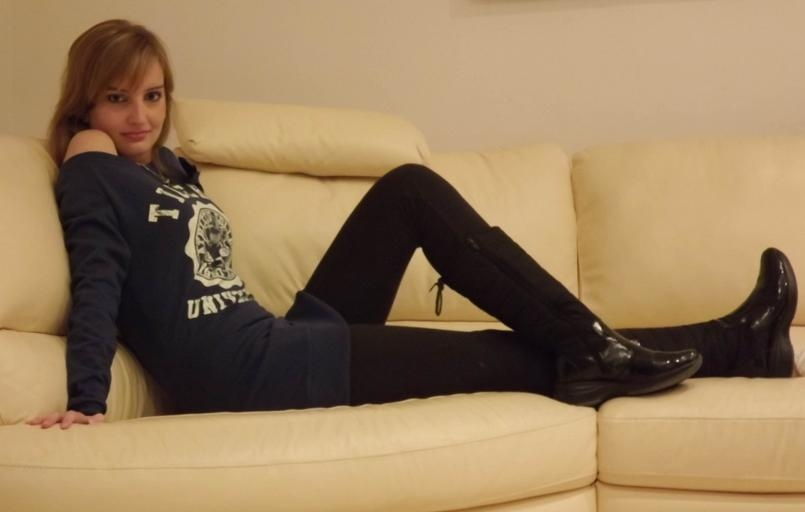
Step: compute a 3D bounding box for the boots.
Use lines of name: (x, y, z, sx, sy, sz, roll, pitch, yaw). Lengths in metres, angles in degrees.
boots: (0.508, 0.225, 2.264, 1.329, 0.586, 0.440, -2, -11, -2)

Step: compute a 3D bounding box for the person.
person: (-0.042, -0.136, 2.442, 1.888, 0.978, 1.201, -1, -1, -3)
